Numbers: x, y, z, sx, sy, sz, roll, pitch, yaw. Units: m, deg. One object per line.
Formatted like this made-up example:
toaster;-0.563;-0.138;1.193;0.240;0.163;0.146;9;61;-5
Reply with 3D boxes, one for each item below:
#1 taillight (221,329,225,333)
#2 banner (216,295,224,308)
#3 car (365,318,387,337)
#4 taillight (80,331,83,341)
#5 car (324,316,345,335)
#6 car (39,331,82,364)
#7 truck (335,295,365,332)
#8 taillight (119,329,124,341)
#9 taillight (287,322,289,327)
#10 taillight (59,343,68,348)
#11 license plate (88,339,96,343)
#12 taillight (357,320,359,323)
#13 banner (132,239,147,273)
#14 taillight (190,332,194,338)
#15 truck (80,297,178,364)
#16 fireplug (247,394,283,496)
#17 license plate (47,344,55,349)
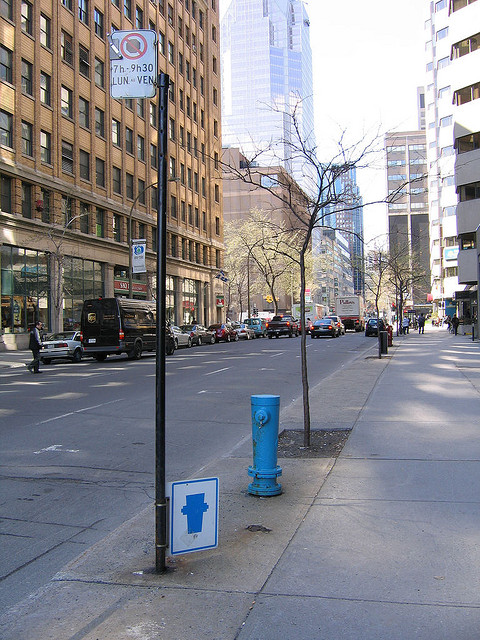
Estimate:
taillight;-1.210;0.768;47.005;0.104;0.196;0.352;-3;1;31
banner;-1.983;-1.798;64.957;0.072;1.195;1.052;-5;-3;21
car;8.184;0.474;40.778;1.032;1.188;2.503;-1;3;14
taillight;-6.491;0.651;27.390;0.045;0.377;0.580;-3;0;-20
car;8.066;0.242;55.492;1.101;1.372;2.772;-1;-5;5
car;-7.175;1.062;27.212;0.843;0.736;2.004;0;2;10
truck;11.059;-0.900;68.789;2.063;3.222;5.919;0;1;14
taillight;-4.692;0.568;26.539;0.066;0.416;0.217;-2;1;40
taillight;3.718;0.358;51.802;0.080;0.287;0.224;-3;1;-26
taillight;-7.138;1.021;27.075;0.315;0.175;0.092;-4;1;-11
license plate;-5.959;0.829;26.938;0.169;0.149;0.044;1;1;-3
taillight;11.559;0.133;66.141;0.172;0.387;0.189;-4;-9;20
banner;-5.017;-3.252;33.188;0.643;1.562;2.022;-3;1;-9
taillight;-2.984;0.905;41.183;0.167;0.339;0.108;3;9;18
truck;-4.577;0.371;29.269;1.933;2.722;5.310;-3;-1;22
fireplug;0.190;1.042;5.569;0.300;0.719;0.317;-3;1;2
license plate;-7.617;1.047;26.943;0.242;0.163;0.186;-9;10;-15
